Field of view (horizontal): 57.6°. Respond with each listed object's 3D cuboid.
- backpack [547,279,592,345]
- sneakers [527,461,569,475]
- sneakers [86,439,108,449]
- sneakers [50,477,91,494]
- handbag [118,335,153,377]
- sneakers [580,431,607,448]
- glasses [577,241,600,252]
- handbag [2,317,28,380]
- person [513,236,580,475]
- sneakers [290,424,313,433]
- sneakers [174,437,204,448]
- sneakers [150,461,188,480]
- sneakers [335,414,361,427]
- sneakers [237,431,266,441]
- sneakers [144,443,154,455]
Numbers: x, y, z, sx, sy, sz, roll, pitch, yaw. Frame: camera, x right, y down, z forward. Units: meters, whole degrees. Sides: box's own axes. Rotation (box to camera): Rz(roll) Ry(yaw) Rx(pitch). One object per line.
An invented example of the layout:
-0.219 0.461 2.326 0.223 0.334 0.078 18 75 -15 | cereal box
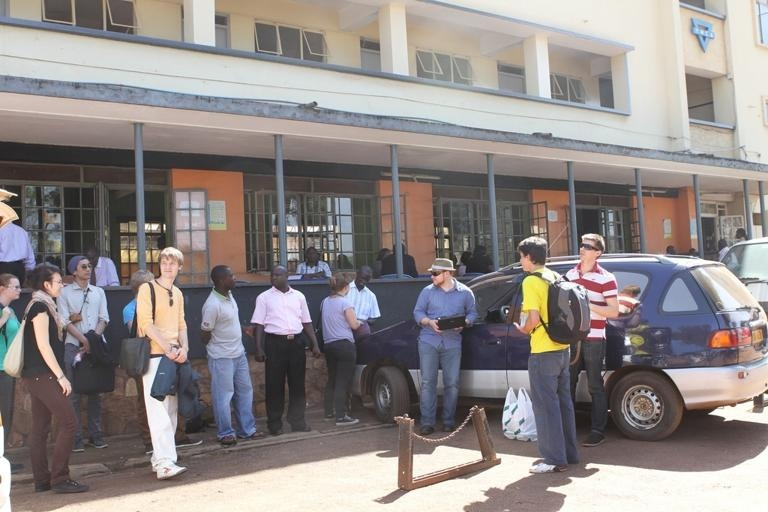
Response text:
2.180 0.661 8.301 0.537 0.751 0.298 -3 5 1 | backpack
1.958 2.544 8.461 0.422 0.168 0.163 2 -3 8 | sneakers
-4.210 2.754 10.260 0.332 0.116 0.116 -2 -6 25 | sneakers
-3.804 2.789 8.534 0.499 0.211 0.164 0 -2 -8 | sneakers
-3.131 1.258 8.772 0.509 0.475 0.186 -10 -11 37 | handbag
2.744 2.403 9.161 0.372 0.136 0.138 0 -4 -41 | sneakers
2.673 -0.128 9.201 0.171 0.113 0.281 -6 6 -33 | glasses
-4.467 1.125 8.444 0.266 0.710 0.477 -6 6 -31 | handbag
1.948 1.190 8.435 0.513 2.814 0.601 1 6 43 | person
-1.251 2.593 10.528 0.307 0.206 0.114 -3 -1 -6 | sneakers
-2.800 2.665 9.991 0.364 0.125 0.128 0 -1 -28 | sneakers
-2.770 2.694 8.774 0.544 0.214 0.211 -7 -2 19 | sneakers
-0.564 2.558 10.883 0.398 0.162 0.143 0 -3 -9 | sneakers
-1.941 2.633 10.257 0.361 0.144 0.129 -6 1 -3 | sneakers
-3.284 2.692 9.844 0.150 0.150 0.240 1 0 -6 | sneakers
